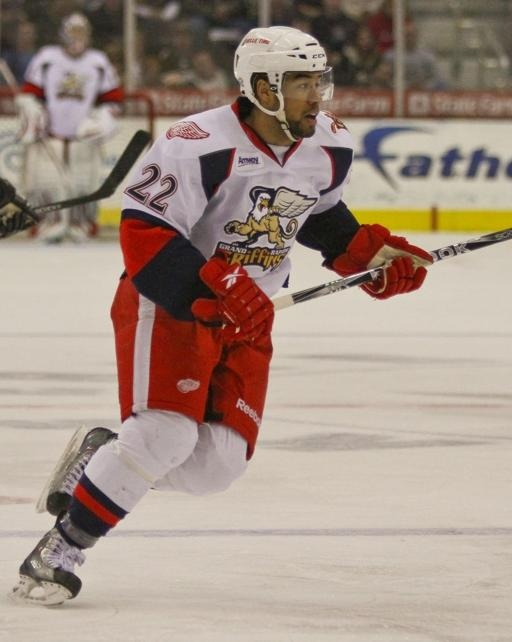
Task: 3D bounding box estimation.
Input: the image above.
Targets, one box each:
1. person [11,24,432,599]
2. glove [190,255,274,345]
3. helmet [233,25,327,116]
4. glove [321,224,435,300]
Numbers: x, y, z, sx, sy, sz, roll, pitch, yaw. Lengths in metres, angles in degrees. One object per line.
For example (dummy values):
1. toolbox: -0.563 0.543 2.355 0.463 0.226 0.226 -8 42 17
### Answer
1. person: -0.029 0.006 1.937 1.054 1.174 0.689 1 -1 8
2. glove: -0.045 -0.040 1.666 0.147 0.146 0.076 -2 15 -3
3. helmet: 0.063 -0.524 1.913 0.218 0.162 0.159 18 32 34
4. glove: 0.336 -0.118 2.206 0.239 0.069 0.215 21 19 29
